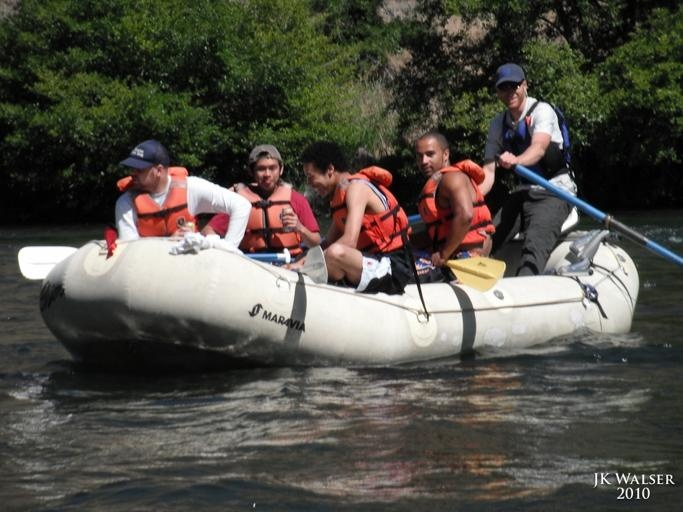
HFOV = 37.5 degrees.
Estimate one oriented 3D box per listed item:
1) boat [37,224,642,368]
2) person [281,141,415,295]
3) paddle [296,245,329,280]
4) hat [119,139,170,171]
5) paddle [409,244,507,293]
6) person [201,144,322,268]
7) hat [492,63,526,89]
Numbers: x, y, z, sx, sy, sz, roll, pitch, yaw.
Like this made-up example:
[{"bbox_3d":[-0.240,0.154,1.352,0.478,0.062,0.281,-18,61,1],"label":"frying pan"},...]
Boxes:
[{"bbox_3d":[0.236,0.553,9.139,4.216,0.939,2.036,7,-10,-34],"label":"boat"},{"bbox_3d":[0.121,-0.317,9.319,0.879,1.462,1.187,-2,-3,-12],"label":"person"},{"bbox_3d":[-0.240,0.081,8.752,0.057,0.193,0.283,-18,6,-39],"label":"paddle"},{"bbox_3d":[-1.703,-0.904,8.899,0.355,0.233,0.258,2,10,-17],"label":"hat"},{"bbox_3d":[1.071,0.124,9.427,0.988,0.371,0.207,8,-1,30],"label":"paddle"},{"bbox_3d":[-0.786,-0.350,10.057,1.044,1.521,0.826,-3,6,-4],"label":"person"},{"bbox_3d":[1.680,-1.828,10.073,0.278,0.227,0.222,0,10,8],"label":"hat"}]
